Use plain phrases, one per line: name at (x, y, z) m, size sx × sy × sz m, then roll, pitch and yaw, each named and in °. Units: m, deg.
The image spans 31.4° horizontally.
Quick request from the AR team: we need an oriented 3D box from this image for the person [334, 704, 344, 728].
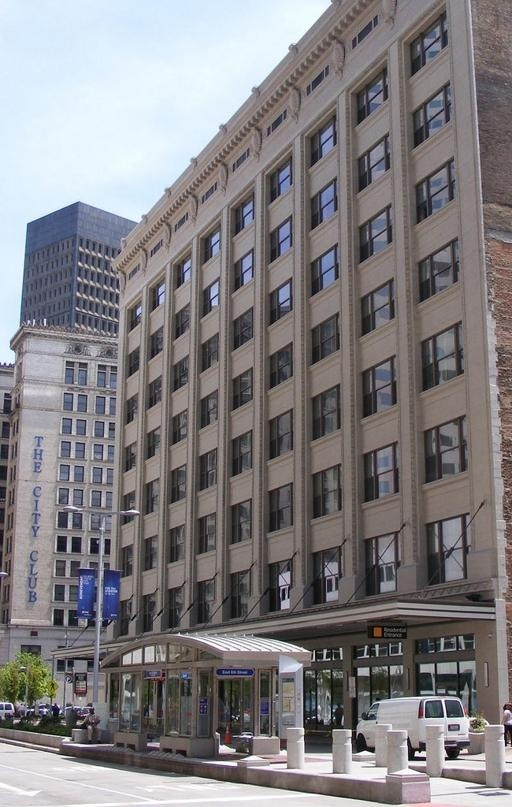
person at (3.308, 12.549, 36.609) m, size 0.194 × 0.841 × 1.015 m, roll 3°, pitch -19°, yaw -11°
